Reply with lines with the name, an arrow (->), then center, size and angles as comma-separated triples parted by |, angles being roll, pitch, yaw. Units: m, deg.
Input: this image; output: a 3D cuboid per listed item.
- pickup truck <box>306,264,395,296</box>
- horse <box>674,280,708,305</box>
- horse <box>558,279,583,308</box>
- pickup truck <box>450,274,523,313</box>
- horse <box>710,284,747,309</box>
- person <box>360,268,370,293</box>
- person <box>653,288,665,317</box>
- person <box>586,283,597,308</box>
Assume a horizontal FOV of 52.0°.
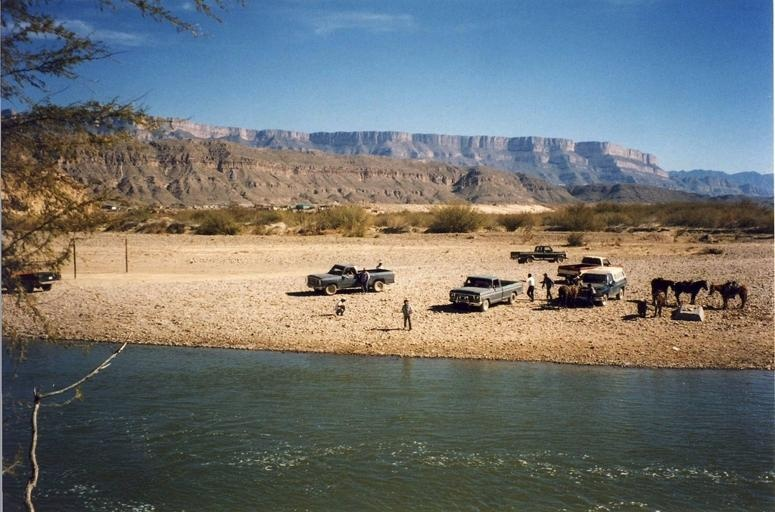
pickup truck -> -1.712, 1.088, 35.657 | 3.291, 1.066, 1.594 | 0, 1, -24
horse -> 12.593, 1.487, 33.006 | 1.255, 1.169, 1.369 | 5, 11, 27
horse -> 7.626, 1.626, 32.987 | 0.826, 0.958, 1.257 | 8, 13, 39
pickup truck -> 4.050, 1.484, 32.905 | 3.028, 1.256, 1.326 | -8, 12, -37
horse -> 14.170, 1.522, 32.761 | 1.278, 1.167, 2.156 | 5, 11, 26
person -> -1.020, 1.130, 35.277 | 0.409, 0.983, 0.587 | -1, 10, -2
person -> 10.814, 1.861, 31.670 | 0.377, 0.970, 0.953 | 3, 11, 20
person -> 8.364, 1.690, 32.797 | 0.274, 0.768, 0.587 | -2, 4, -22
